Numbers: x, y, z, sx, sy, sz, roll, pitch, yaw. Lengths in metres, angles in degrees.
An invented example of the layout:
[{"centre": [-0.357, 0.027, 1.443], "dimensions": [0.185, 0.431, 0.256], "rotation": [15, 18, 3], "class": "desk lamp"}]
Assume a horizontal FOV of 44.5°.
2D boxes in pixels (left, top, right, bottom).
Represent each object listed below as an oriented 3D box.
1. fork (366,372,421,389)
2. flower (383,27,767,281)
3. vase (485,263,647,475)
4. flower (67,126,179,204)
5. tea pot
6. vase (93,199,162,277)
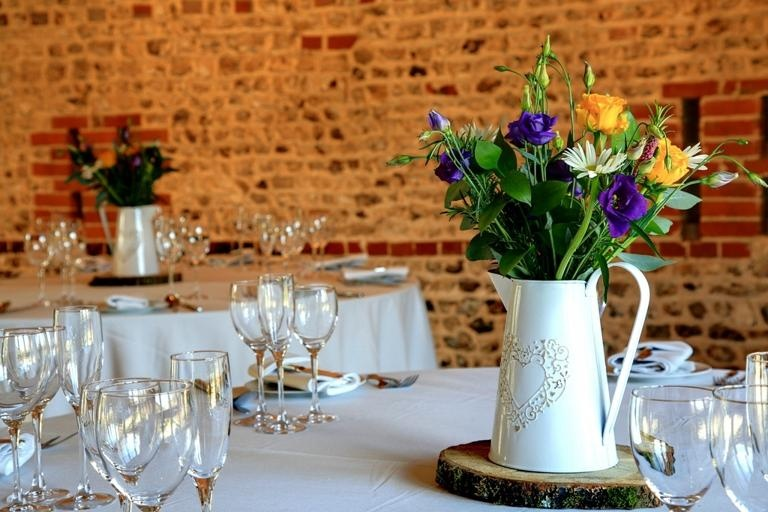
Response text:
[{"centre": [0.023, 0.398, 3.021], "dimensions": [0.199, 0.047, 0.061], "rotation": [1, 31, 28], "class": "fork"}, {"centre": [0.581, -0.207, 2.746], "dimensions": [0.731, 0.657, 0.782], "rotation": [5, 4, 17], "class": "flower"}, {"centre": [0.478, 0.275, 2.513], "dimensions": [0.461, 0.571, 0.291], "rotation": [6, 13, 33], "class": "vase"}, {"centre": [-1.217, -0.415, 4.359], "dimensions": [0.441, 0.319, 0.301], "rotation": [-3, 1, -14], "class": "flower"}, {"centre": [0.504, 0.312, 2.561], "dimensions": [0.529, 0.656, 0.325], "rotation": [-3, -7, 33], "class": "tea pot"}, {"centre": [-1.166, -0.056, 4.366], "dimensions": [0.396, 0.452, 0.259], "rotation": [-1, 2, -24], "class": "vase"}]
